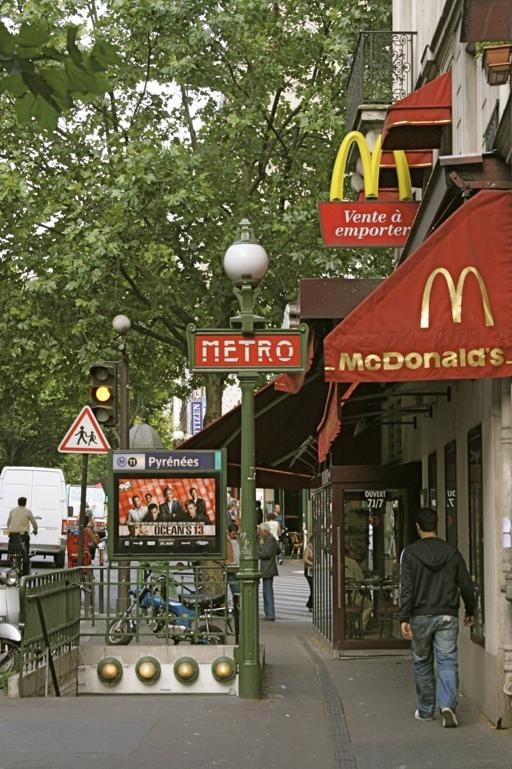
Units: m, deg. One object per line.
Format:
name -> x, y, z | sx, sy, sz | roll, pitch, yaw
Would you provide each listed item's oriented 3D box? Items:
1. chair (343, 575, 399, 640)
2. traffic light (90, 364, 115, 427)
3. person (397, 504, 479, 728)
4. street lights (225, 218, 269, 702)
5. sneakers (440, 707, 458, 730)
chair -> 1.320, 2.541, 11.803 | 0.567, 0.997, 0.659 | 0, 0, 4
traffic light -> -1.614, 0.101, 10.933 | 0.276, 0.662, 0.270 | -1, -4, -8
person -> 1.250, 1.690, 7.014 | 0.445, 1.249, 0.627 | 1, -5, -27
street lights -> -0.047, 0.557, 8.585 | 0.353, 3.977, 0.990 | -1, -4, -1
sneakers -> 1.269, 2.181, 6.707 | 0.104, 0.134, 0.094 | -2, -4, 8
